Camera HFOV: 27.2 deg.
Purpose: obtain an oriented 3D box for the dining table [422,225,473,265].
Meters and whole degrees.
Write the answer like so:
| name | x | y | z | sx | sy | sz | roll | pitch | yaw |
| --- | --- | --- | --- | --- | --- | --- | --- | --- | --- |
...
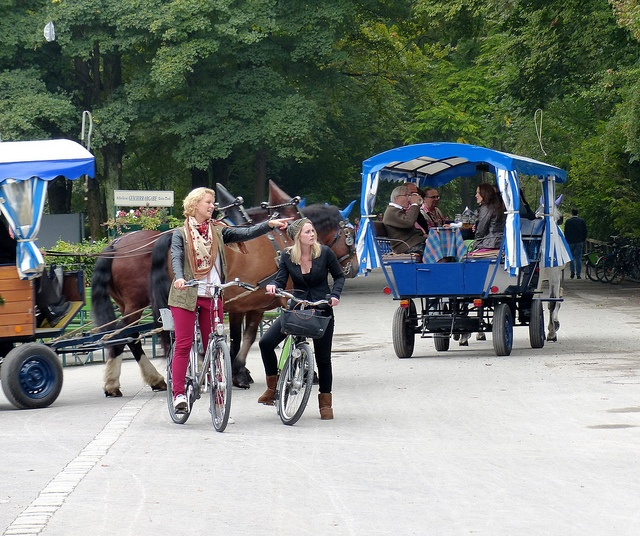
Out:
| name | x | y | z | sx | sy | sz | roll | pitch | yaw |
| --- | --- | --- | --- | --- | --- | --- | --- | --- | --- |
| dining table | 1.856 | -0.358 | 19.787 | 0.576 | 0.550 | 0.501 | 1 | 5 | 15 |

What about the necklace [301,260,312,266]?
| name | x | y | z | sx | sy | sz | roll | pitch | yaw |
| --- | --- | --- | --- | --- | --- | --- | --- | --- | --- |
| necklace | -0.143 | -0.061 | 14.587 | 0.095 | 0.058 | 0.024 | 5 | 3 | -5 |

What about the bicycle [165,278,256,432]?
| name | x | y | z | sx | sy | sz | roll | pitch | yaw |
| --- | --- | --- | --- | --- | --- | --- | --- | --- | --- |
| bicycle | -1.212 | 0.981 | 14.279 | 0.520 | 1.334 | 1.904 | 0 | 1 | -16 |

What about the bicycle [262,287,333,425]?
| name | x | y | z | sx | sy | sz | roll | pitch | yaw |
| --- | --- | --- | --- | --- | --- | --- | --- | --- | --- |
| bicycle | -0.238 | 0.971 | 14.420 | 0.795 | 1.331 | 0.867 | 2 | 8 | -7 |

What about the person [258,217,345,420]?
| name | x | y | z | sx | sy | sz | roll | pitch | yaw |
| --- | --- | --- | --- | --- | --- | --- | --- | --- | --- |
| person | -0.140 | 0.526 | 14.850 | 0.894 | 2.132 | 1.058 | 0 | 0 | 10 |

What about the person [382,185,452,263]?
| name | x | y | z | sx | sy | sz | roll | pitch | yaw |
| --- | --- | --- | --- | --- | --- | --- | --- | --- | --- |
| person | 1.444 | -0.723 | 20.658 | 0.714 | 1.041 | 0.724 | 6 | 11 | 14 |

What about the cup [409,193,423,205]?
| name | x | y | z | sx | sy | sz | roll | pitch | yaw |
| --- | --- | --- | --- | --- | --- | --- | --- | --- | --- |
| cup | 1.475 | -1.076 | 20.358 | 0.183 | 0.160 | 0.176 | 2 | 9 | 0 |

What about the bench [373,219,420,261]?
| name | x | y | z | sx | sy | sz | roll | pitch | yaw |
| --- | --- | --- | --- | --- | --- | --- | --- | --- | --- |
| bench | 1.119 | -0.442 | 20.422 | 0.670 | 0.791 | 0.625 | -2 | 2 | 16 |

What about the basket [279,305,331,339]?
| name | x | y | z | sx | sy | sz | roll | pitch | yaw |
| --- | --- | --- | --- | --- | --- | --- | --- | --- | --- |
| basket | -0.152 | 0.617 | 14.451 | 0.555 | 0.341 | 0.272 | -1 | 5 | 0 |

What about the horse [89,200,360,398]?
| name | x | y | z | sx | sy | sz | roll | pitch | yaw |
| --- | --- | --- | --- | --- | --- | --- | --- | --- | --- |
| horse | -1.216 | 0.395 | 17.505 | 3.876 | 2.314 | 0.991 | -4 | 8 | -27 |

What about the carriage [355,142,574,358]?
| name | x | y | z | sx | sy | sz | roll | pitch | yaw |
| --- | --- | --- | --- | --- | --- | --- | --- | --- | --- |
| carriage | 2.363 | -0.372 | 21.150 | 3.206 | 3.266 | 4.193 | 0 | 5 | 11 |
